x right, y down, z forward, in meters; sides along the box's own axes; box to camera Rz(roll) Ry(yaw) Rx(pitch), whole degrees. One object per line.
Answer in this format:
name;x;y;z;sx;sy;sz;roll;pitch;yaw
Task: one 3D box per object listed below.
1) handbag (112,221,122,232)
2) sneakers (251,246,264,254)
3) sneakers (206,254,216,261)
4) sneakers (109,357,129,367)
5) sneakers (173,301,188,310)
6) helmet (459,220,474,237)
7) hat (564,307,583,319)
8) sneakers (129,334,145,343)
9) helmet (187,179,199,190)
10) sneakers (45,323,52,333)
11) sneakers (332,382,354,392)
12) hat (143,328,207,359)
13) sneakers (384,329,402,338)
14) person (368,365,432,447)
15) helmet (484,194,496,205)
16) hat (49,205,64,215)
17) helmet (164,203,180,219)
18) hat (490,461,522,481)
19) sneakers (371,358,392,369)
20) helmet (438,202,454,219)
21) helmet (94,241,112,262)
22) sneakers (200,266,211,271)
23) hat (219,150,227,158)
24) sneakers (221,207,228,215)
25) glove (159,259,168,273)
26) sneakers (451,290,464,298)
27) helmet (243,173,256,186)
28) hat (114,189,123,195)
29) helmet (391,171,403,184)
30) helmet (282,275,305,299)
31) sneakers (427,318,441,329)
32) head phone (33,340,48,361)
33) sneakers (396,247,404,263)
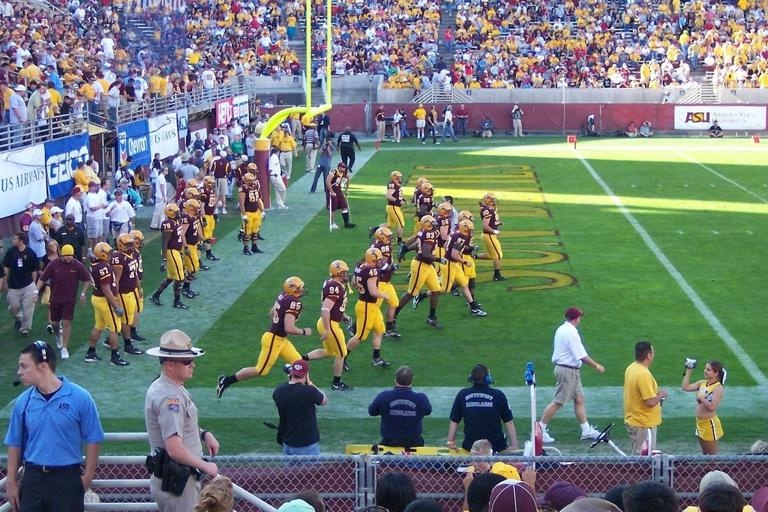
handbag;-7.137;-0.780;34.430;0.262;0.257;0.315;-3;3;-33
sneakers;-3.418;-0.208;34.907;0.285;0.209;0.293;-6;14;-21
sneakers;-4.575;-0.014;34.373;0.288;0.205;0.274;-5;14;-18
sneakers;-5.744;2.326;28.097;0.444;0.184;0.154;6;12;-19
sneakers;-4.831;1.172;30.791;0.303;0.145;0.350;-9;16;-32
helmet;1.924;-0.665;30.299;0.267;0.355;0.620;5;14;24
hat;3.856;1.161;25.640;0.307;0.169;0.217;-24;30;-29
sneakers;-5.560;1.857;28.983;0.328;0.135;0.112;2;11;-6
helmet;-4.949;-1.893;33.304;0.256;0.252;0.299;-26;33;1
sneakers;-7.564;1.647;29.039;0.178;0.196;0.478;0;1;-21
sneakers;-0.871;2.778;27.109;0.390;0.150;0.160;0;4;1
hat;-3.550;1.545;21.954;0.750;0.281;0.692;-1;8;2
sneakers;0.226;1.781;29.201;0.376;0.164;0.137;-1;11;4
person;0.329;2.845;24.210;0.971;1.463;0.654;8;15;33
helmet;2.677;-1.440;32.021;0.300;0.293;0.237;-17;27;5
hat;-8.377;-1.189;32.814;0.449;0.190;0.300;-3;8;-16
helmet;-5.091;-1.105;30.963;0.345;0.287;0.441;-3;13;-12
hat;2.075;3.640;21.467;0.422;0.196;0.284;26;3;-21
sneakers;-0.033;2.356;27.878;0.417;0.187;0.152;2;10;-3
helmet;1.508;-1.122;31.117;0.341;0.405;0.584;-1;13;1
helmet;-6.145;-0.109;27.980;0.325;0.360;0.417;32;27;34
sneakers;-4.667;0.289;33.570;0.215;0.099;0.217;-2;13;-8
hat;-4.865;-3.083;39.046;0.179;0.231;0.238;19;31;22
sneakers;-4.895;-1.436;39.769;0.128;0.194;0.292;1;16;6
glove;-5.653;0.222;33.004;0.149;0.366;0.561;-2;13;-6
sneakers;1.834;0.921;31.682;0.241;0.095;0.333;-3;13;-9
helmet;-3.628;-2.120;34.792;0.261;0.315;0.281;-4;45;-23
hat;-7.066;-1.728;34.275;0.198;0.170;0.415;-4;14;-16
helmet;0.375;-2.200;34.859;0.332;0.320;0.271;-24;45;-20
helmet;-1.860;0.634;26.688;0.451;0.359;0.335;-22;23;-6
sneakers;1.170;1.553;29.649;0.387;0.163;0.131;31;12;2
head phone;-5.774;1.602;21.743;0.313;0.313;0.239;-4;-3;39
sneakers;0.396;0.014;31.086;0.135;0.192;0.397;8;-25;0
